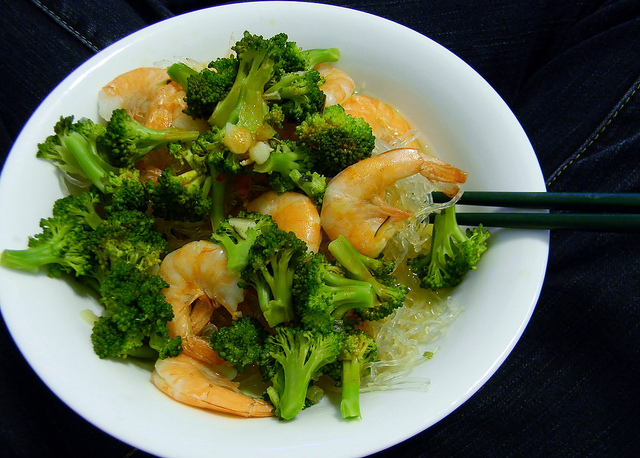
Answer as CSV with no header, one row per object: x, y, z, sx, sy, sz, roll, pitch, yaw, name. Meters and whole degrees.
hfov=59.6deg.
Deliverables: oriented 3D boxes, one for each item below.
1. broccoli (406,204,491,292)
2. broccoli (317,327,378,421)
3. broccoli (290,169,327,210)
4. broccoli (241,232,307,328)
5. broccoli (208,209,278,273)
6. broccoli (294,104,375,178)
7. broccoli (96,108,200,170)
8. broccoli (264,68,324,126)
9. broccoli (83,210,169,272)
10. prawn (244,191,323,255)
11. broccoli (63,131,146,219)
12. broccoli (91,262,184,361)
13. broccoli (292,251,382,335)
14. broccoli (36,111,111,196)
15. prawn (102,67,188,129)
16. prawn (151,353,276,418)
0.644,0.142,2.806,0.358,0.225,0.431,-7,72,32,broccoli
0.150,0.690,2.646,0.152,0.189,0.414,-4,116,-12,broccoli
-0.063,-0.203,2.762,0.134,0.164,0.166,1,101,-13,broccoli
-0.229,0.224,2.639,0.272,0.119,0.447,12,86,1,broccoli
-0.381,0.059,2.659,0.265,0.112,0.288,6,62,6,broccoli
0.057,-0.449,2.761,0.244,0.358,0.332,-5,105,-20,broccoli
-0.848,-0.461,2.822,0.457,0.264,0.290,-3,106,-21,broccoli
-0.122,-0.671,2.800,0.274,0.163,0.251,-5,84,-17,broccoli
-0.937,0.032,2.715,0.243,0.305,0.308,-12,114,-39,broccoli
-0.188,-0.093,2.798,0.290,0.360,0.313,-9,112,-21,prawn
-1.051,-0.249,2.840,0.300,0.230,0.486,-35,89,-36,broccoli
-0.839,0.384,2.633,0.377,0.274,0.448,4,85,1,broccoli
0.066,0.310,2.661,0.370,0.257,0.384,2,68,-10,broccoli
-1.167,-0.392,2.805,0.246,0.373,0.365,23,40,4,broccoli
-0.870,-0.683,2.826,0.357,0.106,0.369,-19,83,3,prawn
-0.487,0.751,2.660,0.606,0.216,0.187,17,86,2,prawn
